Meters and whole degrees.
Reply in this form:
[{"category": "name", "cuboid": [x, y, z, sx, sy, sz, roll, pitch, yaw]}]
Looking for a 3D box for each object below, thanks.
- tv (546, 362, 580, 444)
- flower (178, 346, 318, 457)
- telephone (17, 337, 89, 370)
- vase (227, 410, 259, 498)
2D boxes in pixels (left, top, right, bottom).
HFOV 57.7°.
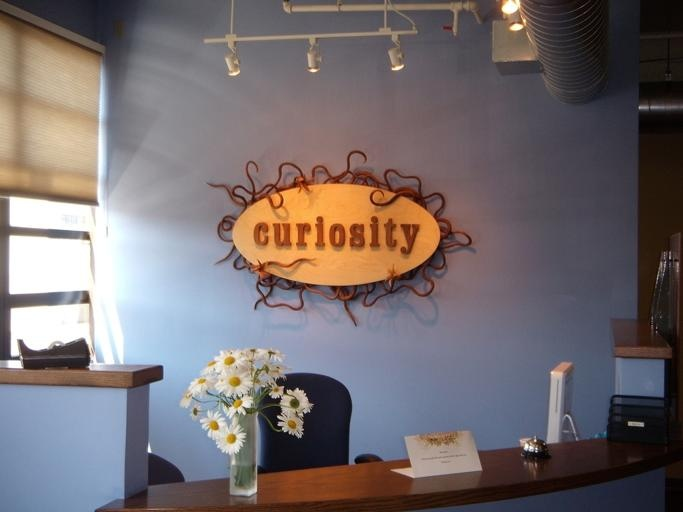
[{"category": "tv", "cuboid": [1.099, 0.734, 3.047, 0.141, 0.405, 0.341, 4, 12, 22]}, {"category": "flower", "cuboid": [-0.428, 0.747, 2.661, 0.588, 0.654, 0.566, 0, -6, -15]}, {"category": "telephone", "cuboid": [-1.244, 0.433, 2.678, 0.253, 0.127, 0.155, 1, -2, -4]}, {"category": "vase", "cuboid": [-0.392, 0.813, 2.531, 0.147, 0.334, 0.121, -8, 14, -34]}]
